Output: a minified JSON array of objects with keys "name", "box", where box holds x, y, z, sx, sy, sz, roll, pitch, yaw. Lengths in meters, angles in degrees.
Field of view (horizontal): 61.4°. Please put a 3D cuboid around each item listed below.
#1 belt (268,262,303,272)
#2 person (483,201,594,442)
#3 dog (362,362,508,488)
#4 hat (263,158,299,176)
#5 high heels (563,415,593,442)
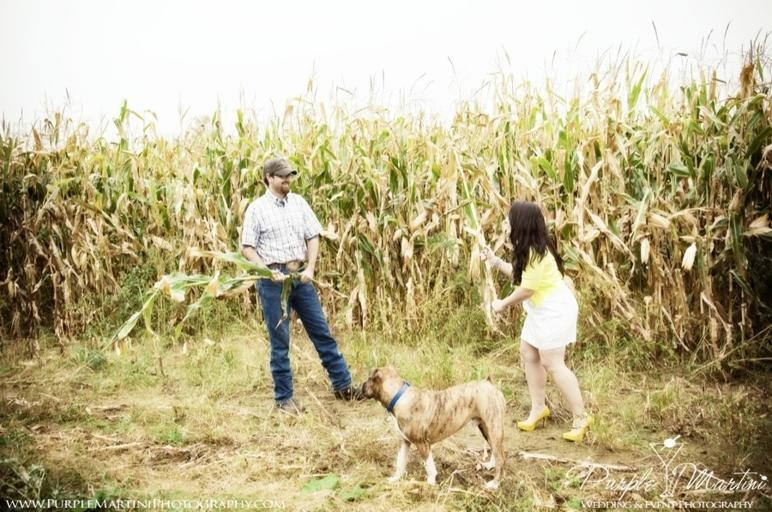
[{"name":"belt","box":[-1.166,0.140,7.606,0.421,0.133,0.098,-6,7,-17]},{"name":"person","box":[1.692,0.741,6.969,0.852,2.655,0.463,-3,7,5]},{"name":"dog","box":[0.498,1.723,6.579,1.500,1.242,0.565,-3,6,-4]},{"name":"hat","box":[-1.251,-1.005,7.583,0.297,0.174,0.208,-11,-2,35]},{"name":"high heels","box":[2.103,1.879,7.170,0.201,0.384,0.104,40,-1,-18]}]
